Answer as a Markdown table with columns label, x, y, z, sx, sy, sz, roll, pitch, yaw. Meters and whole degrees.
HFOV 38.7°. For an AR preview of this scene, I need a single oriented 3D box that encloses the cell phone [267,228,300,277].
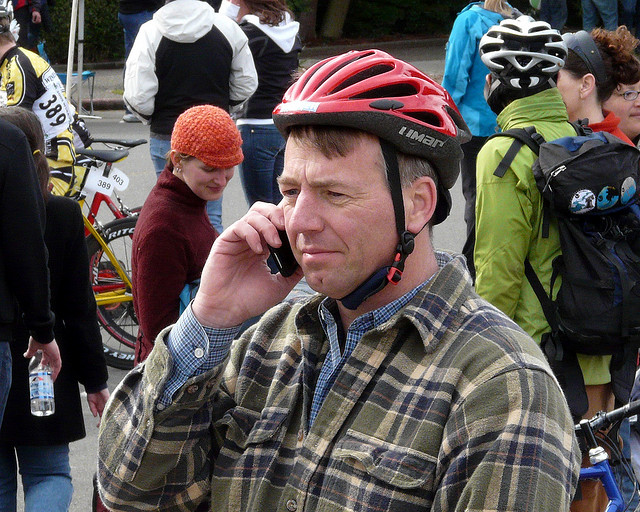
| label | x | y | z | sx | sy | sz | roll | pitch | yaw |
| --- | --- | --- | --- | --- | --- | --- | --- | --- | --- |
| cell phone | -0.123 | -0.014 | 3.323 | 0.034 | 0.148 | 0.149 | -21 | 53 | -1 |
